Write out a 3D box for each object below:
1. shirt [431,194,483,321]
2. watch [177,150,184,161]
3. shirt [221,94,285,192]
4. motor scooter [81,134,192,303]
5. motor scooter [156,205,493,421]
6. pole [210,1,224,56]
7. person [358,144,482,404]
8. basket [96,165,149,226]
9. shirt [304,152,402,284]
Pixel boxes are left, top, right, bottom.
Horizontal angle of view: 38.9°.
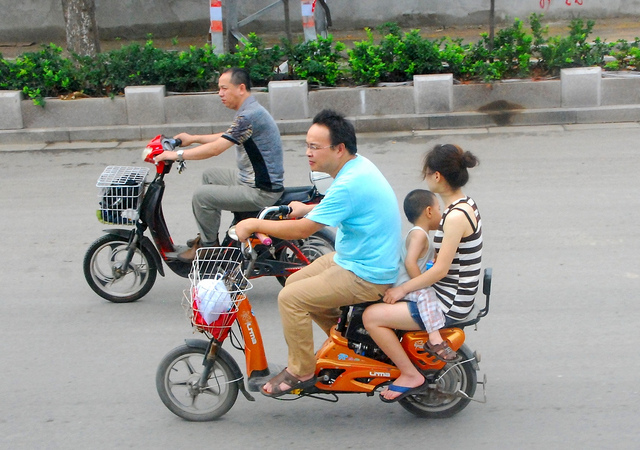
[{"bbox_3d":[1.166,0.287,7.727,0.430,1.047,0.231,-2,9,6],"label":"shirt"},{"bbox_3d":[-1.440,-0.715,9.311,0.081,0.093,0.114,3,0,-3],"label":"watch"},{"bbox_3d":[-0.711,-0.837,9.538,0.604,0.993,0.278,-3,8,-3],"label":"shirt"},{"bbox_3d":[-1.973,-0.084,9.933,1.572,1.817,1.158,1,32,-12],"label":"motor scooter"},{"bbox_3d":[0.019,0.886,8.143,3.063,1.561,1.090,-1,2,9],"label":"motor scooter"},{"bbox_3d":[-1.850,-3.479,16.175,0.193,0.920,0.449,-4,8,-7],"label":"pole"},{"bbox_3d":[0.895,0.417,7.712,0.976,2.148,0.310,-6,9,-21],"label":"person"},{"bbox_3d":[-2.110,-0.315,9.533,0.501,0.534,0.666,6,13,-2],"label":"basket"},{"bbox_3d":[0.321,-0.043,7.778,0.766,1.110,0.284,-3,8,0],"label":"shirt"}]
